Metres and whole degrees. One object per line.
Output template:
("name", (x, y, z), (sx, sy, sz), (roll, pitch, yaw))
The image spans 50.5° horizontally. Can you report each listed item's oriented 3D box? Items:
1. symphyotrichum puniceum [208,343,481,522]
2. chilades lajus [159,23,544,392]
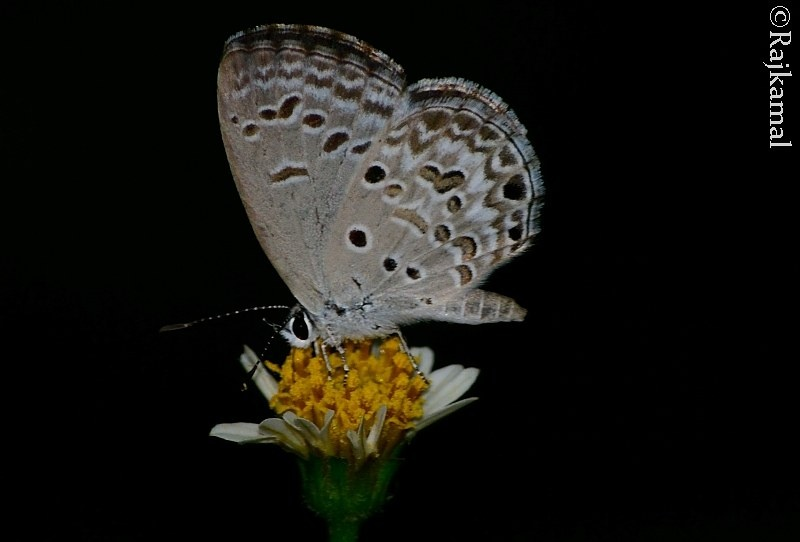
("symphyotrichum puniceum", (-0.235, 0.530, 3.705), (0.954, 0.522, 0.958), (-3, 10, 20))
("chilades lajus", (-0.237, -0.148, 3.961), (1.526, 1.174, 1.622), (-3, -28, -10))
